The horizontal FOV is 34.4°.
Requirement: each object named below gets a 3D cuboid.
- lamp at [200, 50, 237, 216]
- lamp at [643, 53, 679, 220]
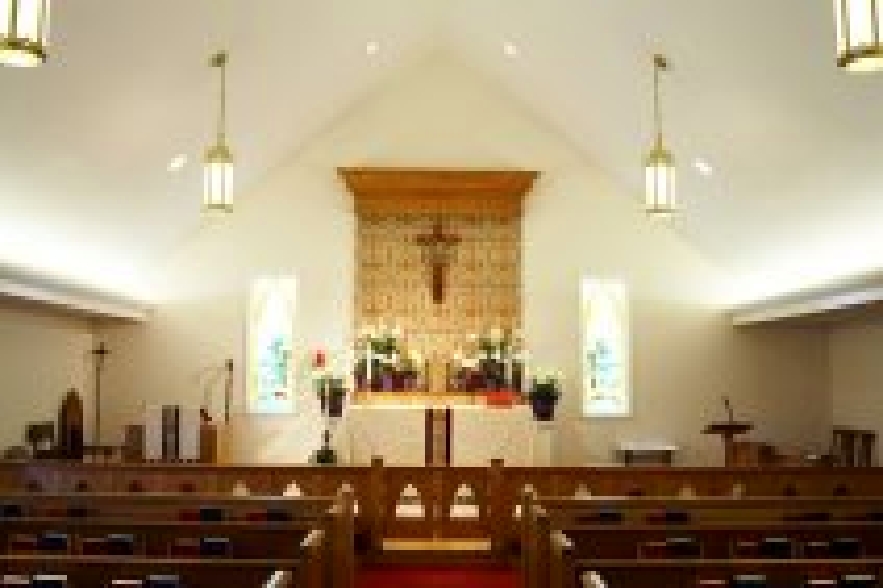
[{"bbox_3d":[-2.540,-1.855,16.206,0.344,1.899,0.667,2,-10,-9],"label":"lamp"},{"bbox_3d":[2.490,-1.841,16.284,0.365,1.886,0.790,-1,-10,8],"label":"lamp"}]
